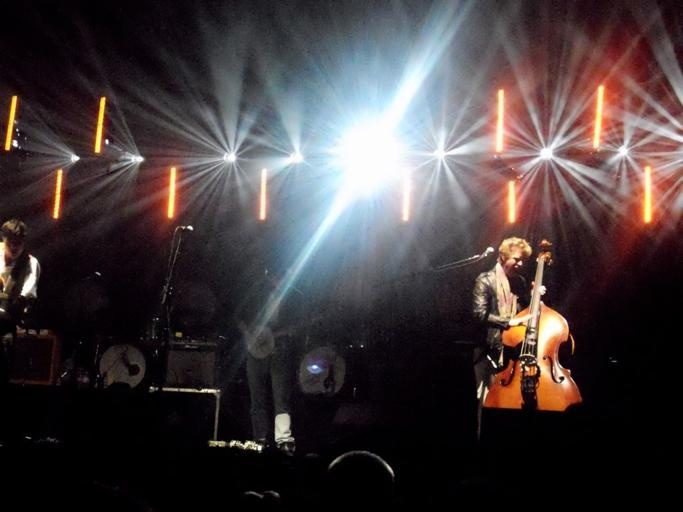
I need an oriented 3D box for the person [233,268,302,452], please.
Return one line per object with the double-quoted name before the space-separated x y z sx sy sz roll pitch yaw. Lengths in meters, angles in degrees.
"person" -0.896 1.220 7.024 0.801 2.154 0.607 3 -13 1
